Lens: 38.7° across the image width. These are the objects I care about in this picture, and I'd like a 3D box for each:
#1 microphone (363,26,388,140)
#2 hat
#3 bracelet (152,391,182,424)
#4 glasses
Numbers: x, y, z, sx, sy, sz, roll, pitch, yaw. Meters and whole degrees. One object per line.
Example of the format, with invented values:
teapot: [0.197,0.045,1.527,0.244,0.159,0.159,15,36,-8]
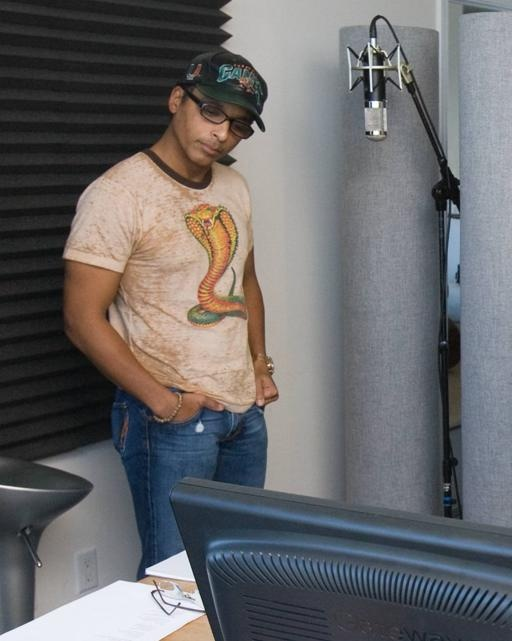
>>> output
microphone: [0.341,-0.672,2.102,0.071,0.305,0.106,3,-2,8]
hat: [-0.097,-0.552,1.729,0.154,0.099,0.199,21,13,-43]
bracelet: [-0.202,0.194,1.646,0.067,0.068,0.023,-20,31,-30]
glasses: [-0.103,-0.473,1.691,0.133,0.037,0.134,40,16,33]
